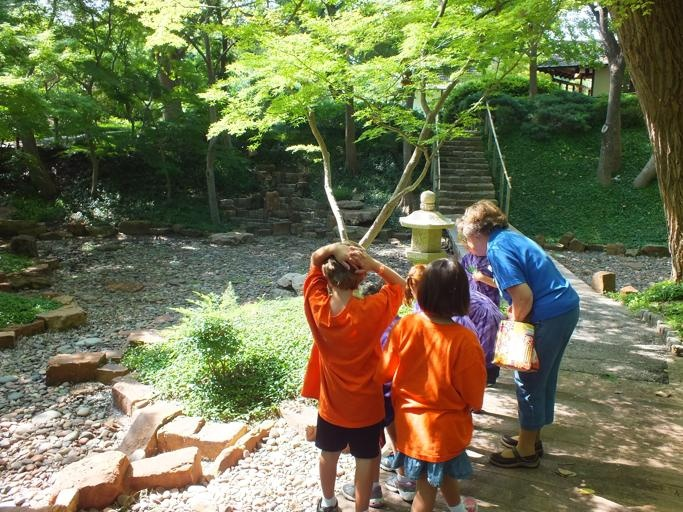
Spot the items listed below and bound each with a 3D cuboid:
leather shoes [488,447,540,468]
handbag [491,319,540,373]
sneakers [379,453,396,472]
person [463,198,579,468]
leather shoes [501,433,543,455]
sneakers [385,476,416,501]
[{"bbox_3d":[1.298,1.542,3.994,0.356,0.123,0.146,2,2,5],"label":"leather shoes"},{"bbox_3d":[1.226,0.672,3.945,0.385,0.356,0.374,6,-21,14],"label":"handbag"},{"bbox_3d":[0.342,1.577,4.013,0.088,0.093,0.225,6,1,-16],"label":"sneakers"},{"bbox_3d":[1.364,0.586,3.999,0.840,2.007,0.495,-2,12,13],"label":"person"},{"bbox_3d":[1.416,1.451,4.162,0.338,0.117,0.140,7,8,10],"label":"leather shoes"},{"bbox_3d":[0.415,1.659,3.856,0.106,0.110,0.263,-4,13,-40],"label":"sneakers"}]
